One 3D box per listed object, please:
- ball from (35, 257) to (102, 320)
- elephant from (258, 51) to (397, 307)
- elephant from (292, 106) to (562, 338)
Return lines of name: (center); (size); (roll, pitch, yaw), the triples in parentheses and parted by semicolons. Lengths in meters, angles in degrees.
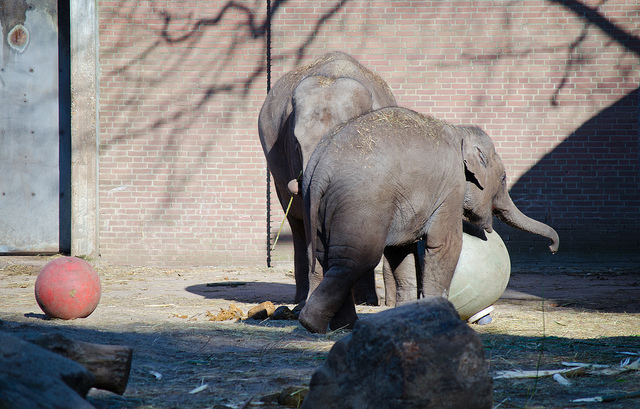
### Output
ball: (-3.420, 1.139, 16.451); (0.889, 0.747, 0.941); (-9, -7, -1)
elephant: (0.375, -0.180, 17.839); (2.397, 3.618, 5.184); (-1, -4, 4)
elephant: (1.413, 0.179, 16.743); (4.744, 2.954, 1.445); (-4, 8, -41)
